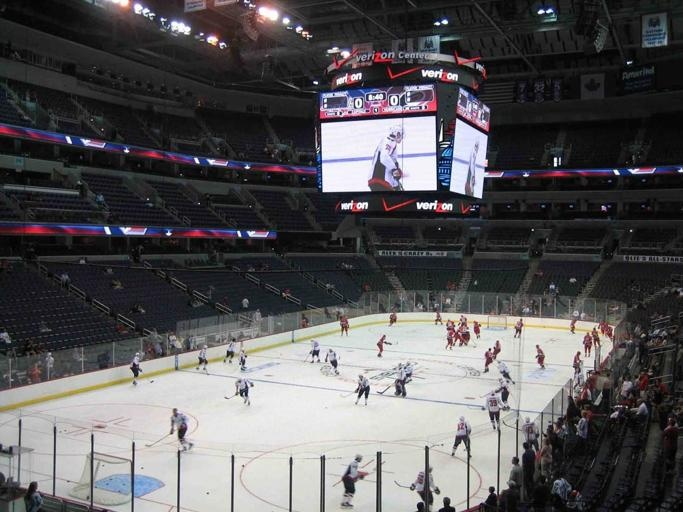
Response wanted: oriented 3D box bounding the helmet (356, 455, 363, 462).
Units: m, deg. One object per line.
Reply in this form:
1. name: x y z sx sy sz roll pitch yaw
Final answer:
1. helmet: 0.517 5.825 19.949 0.190 0.169 0.167 3 12 12

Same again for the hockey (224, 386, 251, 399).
1. hockey: -4.259 5.643 28.570 0.302 0.252 1.976 -11 -6 -45

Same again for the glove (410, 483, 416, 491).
1. glove: 2.021 6.549 19.664 0.092 0.174 0.276 -1 -3 3

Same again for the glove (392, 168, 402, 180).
1. glove: 2.930 -4.290 36.658 0.533 0.517 0.128 -29 -24 31

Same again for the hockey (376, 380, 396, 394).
1. hockey: 1.929 5.713 30.097 0.221 0.233 1.590 2 3 28

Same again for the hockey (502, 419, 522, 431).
1. hockey: 5.137 5.130 20.972 0.434 0.260 0.439 2 -3 38

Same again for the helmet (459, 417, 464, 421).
1. helmet: 3.863 5.231 22.218 0.145 0.173 0.102 2 7 7
